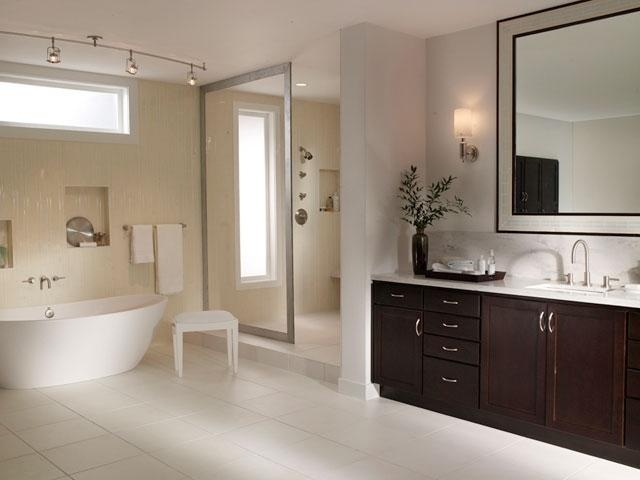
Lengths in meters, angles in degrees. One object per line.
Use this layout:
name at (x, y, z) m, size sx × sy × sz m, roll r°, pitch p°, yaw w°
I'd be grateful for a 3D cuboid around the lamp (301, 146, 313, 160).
lamp at (-0.149, -0.929, 4.938) m, size 0.149 × 0.143 × 0.033 m, roll -2°, pitch 4°, yaw -26°

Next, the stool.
stool at (-1.187, 1.108, 4.744) m, size 0.625 × 0.575 × 0.522 m, roll 0°, pitch -6°, yaw -22°

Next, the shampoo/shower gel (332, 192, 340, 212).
shampoo/shower gel at (0.170, -0.411, 5.004) m, size 0.069 × 0.210 × 0.065 m, roll -1°, pitch 4°, yaw -7°

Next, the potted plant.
potted plant at (0.992, -0.201, 4.098) m, size 0.533 × 0.964 × 0.416 m, roll -2°, pitch 4°, yaw -29°

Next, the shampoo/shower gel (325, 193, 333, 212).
shampoo/shower gel at (0.110, -0.402, 5.018) m, size 0.084 × 0.176 × 0.054 m, roll 0°, pitch 4°, yaw 3°

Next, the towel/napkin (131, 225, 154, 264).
towel/napkin at (-2.130, 0.040, 5.580) m, size 0.257 × 0.465 × 0.074 m, roll -5°, pitch 0°, yaw 8°

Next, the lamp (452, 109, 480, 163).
lamp at (1.269, -0.907, 3.979) m, size 0.215 × 0.462 × 0.192 m, roll 0°, pitch 4°, yaw 15°

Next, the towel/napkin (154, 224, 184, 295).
towel/napkin at (-1.881, 0.236, 5.769) m, size 0.370 × 0.858 × 0.164 m, roll -2°, pitch 4°, yaw -26°

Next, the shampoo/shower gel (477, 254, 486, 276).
shampoo/shower gel at (1.250, 0.210, 3.542) m, size 0.061 × 0.103 × 0.132 m, roll 1°, pitch 4°, yaw 18°

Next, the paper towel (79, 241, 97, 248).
paper towel at (-2.694, 0.058, 5.336) m, size 0.185 × 0.058 × 0.071 m, roll -2°, pitch 4°, yaw -30°

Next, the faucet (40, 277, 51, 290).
faucet at (-3.009, 0.470, 5.038) m, size 0.114 × 0.148 × 0.066 m, roll -3°, pitch 4°, yaw -35°

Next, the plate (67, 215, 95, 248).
plate at (-2.790, -0.093, 5.320) m, size 0.351 × 0.374 × 0.048 m, roll 0°, pitch -1°, yaw -44°
